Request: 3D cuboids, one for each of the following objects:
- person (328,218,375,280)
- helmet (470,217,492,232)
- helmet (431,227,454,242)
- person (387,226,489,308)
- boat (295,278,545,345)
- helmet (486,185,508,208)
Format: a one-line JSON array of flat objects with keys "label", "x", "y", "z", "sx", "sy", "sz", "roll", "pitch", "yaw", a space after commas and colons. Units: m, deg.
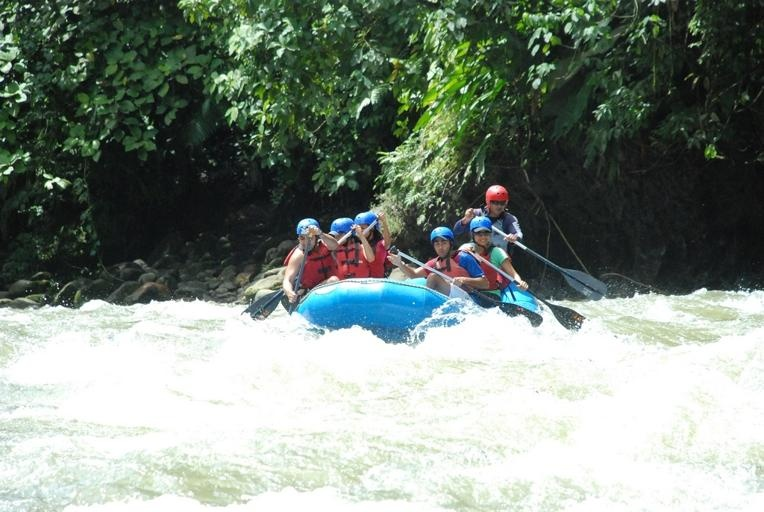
[{"label": "person", "x": -0.424, "y": -0.092, "z": 11.779, "sx": 0.498, "sy": 1.253, "sz": 0.420, "roll": -9, "pitch": -23, "yaw": 9}, {"label": "helmet", "x": 1.410, "y": -0.460, "z": 11.639, "sx": 0.180, "sy": 0.289, "sz": 0.204, "roll": 3, "pitch": 5, "yaw": 9}, {"label": "helmet", "x": 0.836, "y": -0.305, "z": 11.386, "sx": 0.311, "sy": 0.203, "sz": 0.272, "roll": -5, "pitch": 2, "yaw": -15}, {"label": "person", "x": 0.897, "y": 0.261, "z": 11.623, "sx": 1.295, "sy": 1.530, "sz": 0.759, "roll": -4, "pitch": 11, "yaw": 3}, {"label": "boat", "x": 0.242, "y": 0.725, "z": 10.810, "sx": 2.161, "sy": 0.491, "sz": 1.341, "roll": 5, "pitch": 1, "yaw": -12}, {"label": "helmet", "x": 1.766, "y": -0.958, "z": 12.637, "sx": 0.265, "sy": 0.310, "sz": 0.362, "roll": 2, "pitch": -12, "yaw": -9}]
